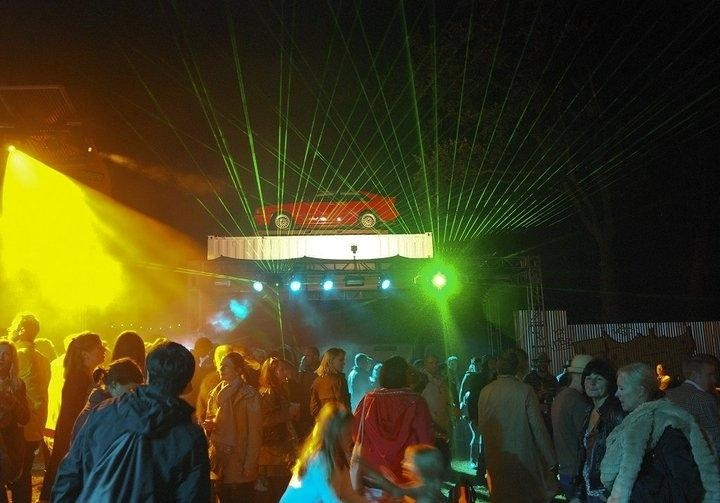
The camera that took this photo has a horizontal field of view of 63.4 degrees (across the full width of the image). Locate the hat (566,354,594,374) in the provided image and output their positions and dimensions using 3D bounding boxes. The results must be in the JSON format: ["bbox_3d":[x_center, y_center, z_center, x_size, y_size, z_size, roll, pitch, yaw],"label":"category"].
[{"bbox_3d":[3.065,1.546,8.042,0.289,0.164,0.248,10,-7,2],"label":"hat"}]

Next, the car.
[{"bbox_3d":[-1.012,-1.297,19.838,4.034,1.305,1.868,2,-4,2],"label":"car"}]
